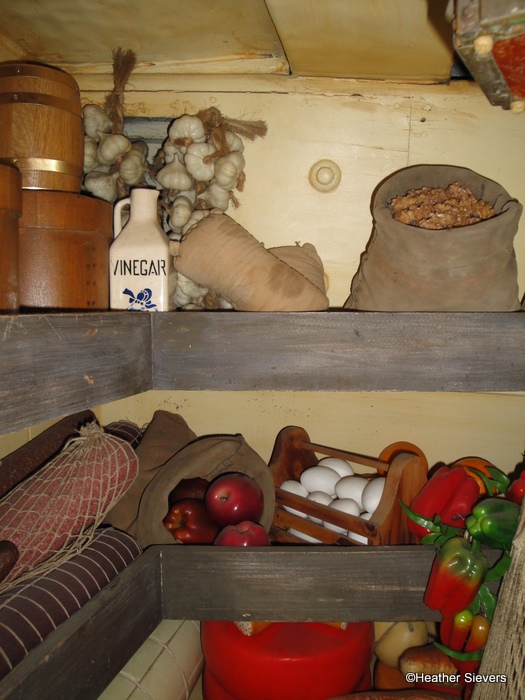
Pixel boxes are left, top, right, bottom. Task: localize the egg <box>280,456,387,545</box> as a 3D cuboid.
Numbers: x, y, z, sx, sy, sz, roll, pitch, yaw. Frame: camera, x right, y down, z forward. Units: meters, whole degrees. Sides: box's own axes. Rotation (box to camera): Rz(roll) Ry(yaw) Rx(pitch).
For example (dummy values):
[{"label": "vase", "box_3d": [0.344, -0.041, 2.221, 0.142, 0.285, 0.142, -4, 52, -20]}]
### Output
[{"label": "egg", "box_3d": [0.172, 0.297, 1.304, 0.215, 0.130, 0.175, 12, 19, 36]}]
